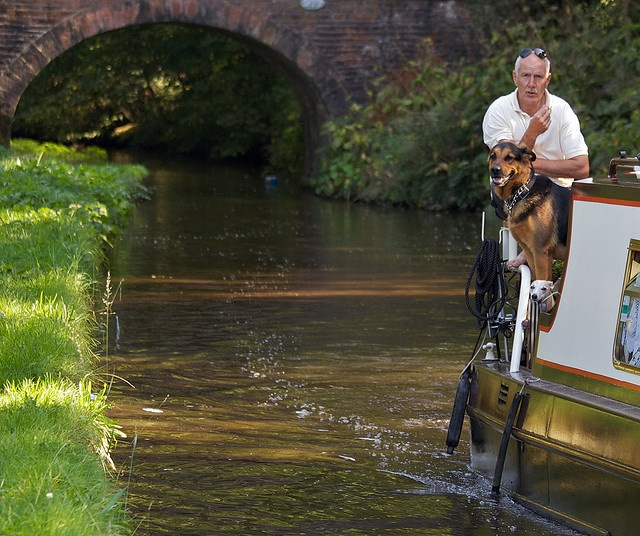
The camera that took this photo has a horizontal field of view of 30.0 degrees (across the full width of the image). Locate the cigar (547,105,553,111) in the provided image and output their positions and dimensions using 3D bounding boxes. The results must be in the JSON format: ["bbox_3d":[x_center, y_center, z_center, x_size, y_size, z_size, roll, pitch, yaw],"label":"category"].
[{"bbox_3d":[1.622,-1.126,8.377,0.033,0.011,0.032,-16,53,-43],"label":"cigar"}]

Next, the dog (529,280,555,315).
[{"bbox_3d":[1.548,0.194,8.270,0.161,0.210,0.237,6,25,24],"label":"dog"}]
